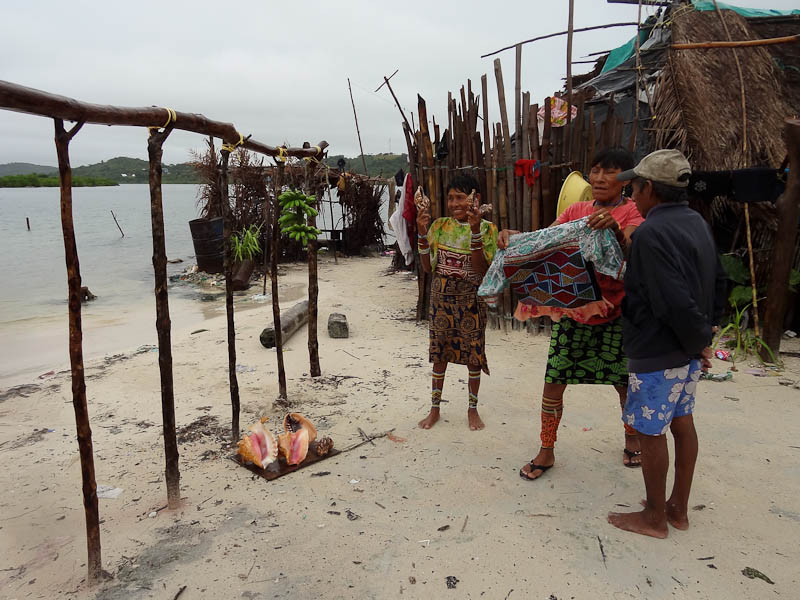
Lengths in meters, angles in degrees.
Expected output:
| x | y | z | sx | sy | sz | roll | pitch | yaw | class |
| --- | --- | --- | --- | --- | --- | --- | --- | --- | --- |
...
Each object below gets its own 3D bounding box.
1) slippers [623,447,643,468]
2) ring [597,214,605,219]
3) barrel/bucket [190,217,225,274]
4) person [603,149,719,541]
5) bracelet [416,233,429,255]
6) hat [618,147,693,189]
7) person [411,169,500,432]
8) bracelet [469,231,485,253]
| x | y | z | sx | sy | sz | roll | pitch | yaw | class |
| --- | --- | --- | --- | --- | --- | --- | --- | --- | --- |
| 1.825 | 1.271 | 4.645 | 0.147 | 0.113 | 0.290 | -3 | -1 | 11 | slippers |
| 1.361 | -0.562 | 3.981 | 0.039 | 0.035 | 0.010 | 1 | -5 | 10 | ring |
| -4.603 | -1.268 | 14.097 | 0.683 | 1.360 | 1.041 | -7 | 12 | -18 | barrel/bucket |
| 1.703 | 0.312 | 3.821 | 0.569 | 2.517 | 0.464 | 3 | 13 | 28 | person |
| 0.198 | -0.494 | 5.162 | 0.114 | 0.145 | 0.131 | -5 | 13 | -1 | bracelet |
| 1.635 | -0.858 | 3.780 | 0.232 | 0.194 | 0.369 | -16 | 25 | -41 | hat |
| 0.498 | 0.054 | 5.124 | 0.729 | 2.253 | 0.517 | 1 | 12 | 18 | person |
| 0.627 | -0.470 | 4.813 | 0.118 | 0.149 | 0.123 | -1 | 8 | 4 | bracelet |
